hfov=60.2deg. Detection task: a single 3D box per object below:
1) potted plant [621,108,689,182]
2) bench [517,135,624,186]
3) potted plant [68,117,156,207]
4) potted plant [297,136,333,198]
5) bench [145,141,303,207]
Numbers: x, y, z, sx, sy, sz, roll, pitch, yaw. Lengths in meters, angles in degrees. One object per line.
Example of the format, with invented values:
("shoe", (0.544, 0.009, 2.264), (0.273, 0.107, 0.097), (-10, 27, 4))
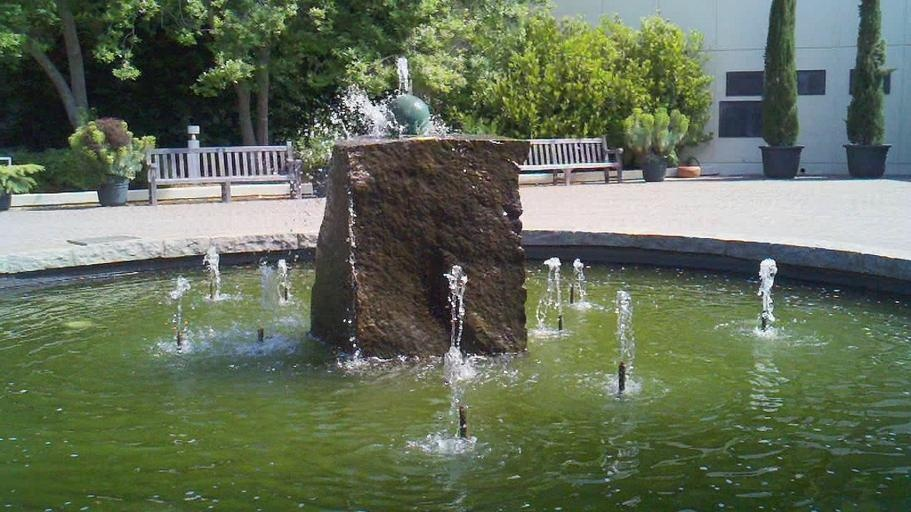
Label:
("potted plant", (5.647, -3.059, 21.859), (1.956, 1.933, 1.732), (4, 4, 29))
("bench", (2.983, -2.476, 20.809), (2.748, 1.005, 0.702), (-5, 23, -21))
("potted plant", (-7.768, -2.035, 17.314), (1.547, 1.689, 1.723), (13, 23, 29))
("potted plant", (-3.445, -2.237, 19.404), (0.796, 1.537, 2.712), (-3, 6, -11))
("bench", (-5.508, -1.936, 18.392), (3.219, 1.313, 1.310), (-4, 6, -22))
